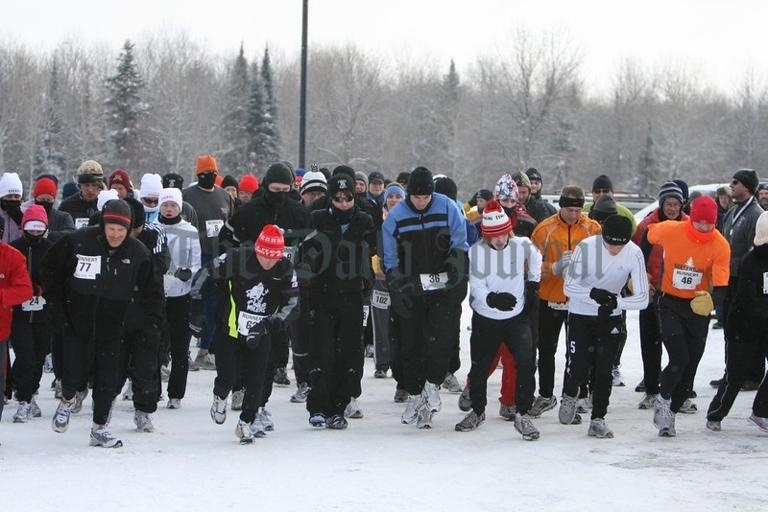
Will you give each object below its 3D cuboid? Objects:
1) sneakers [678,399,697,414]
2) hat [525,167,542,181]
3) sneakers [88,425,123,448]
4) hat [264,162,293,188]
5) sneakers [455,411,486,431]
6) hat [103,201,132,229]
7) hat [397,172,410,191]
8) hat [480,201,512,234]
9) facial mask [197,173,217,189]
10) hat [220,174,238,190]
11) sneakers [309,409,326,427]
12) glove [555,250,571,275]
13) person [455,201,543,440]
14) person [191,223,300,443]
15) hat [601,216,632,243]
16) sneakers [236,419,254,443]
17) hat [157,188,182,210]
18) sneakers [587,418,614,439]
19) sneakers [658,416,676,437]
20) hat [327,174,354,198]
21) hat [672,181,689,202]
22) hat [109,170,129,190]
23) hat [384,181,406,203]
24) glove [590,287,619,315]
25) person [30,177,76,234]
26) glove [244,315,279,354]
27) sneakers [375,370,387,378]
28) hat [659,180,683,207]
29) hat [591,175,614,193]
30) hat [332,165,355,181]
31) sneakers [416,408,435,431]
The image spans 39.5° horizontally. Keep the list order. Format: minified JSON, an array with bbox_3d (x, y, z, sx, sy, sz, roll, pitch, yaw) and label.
[{"bbox_3d":[4.086,1.920,13.570,0.194,0.192,0.407,-2,-15,6],"label":"sneakers"},{"bbox_3d":[2.540,-1.282,16.660,0.186,0.142,0.279,2,-7,8],"label":"hat"},{"bbox_3d":[-3.069,1.985,11.786,0.365,0.237,0.292,-2,9,-16],"label":"sneakers"},{"bbox_3d":[-1.205,-0.981,12.975,0.289,0.256,0.307,2,2,-37],"label":"hat"},{"bbox_3d":[1.170,1.951,12.632,0.417,0.192,0.163,-11,15,-38],"label":"sneakers"},{"bbox_3d":[-2.953,-0.491,11.867,0.256,0.281,0.330,16,6,-27],"label":"hat"},{"bbox_3d":[0.489,-1.294,18.277,0.274,0.248,0.409,1,3,3],"label":"hat"},{"bbox_3d":[1.411,-0.468,12.624,0.317,0.365,0.406,-15,17,-4],"label":"hat"},{"bbox_3d":[-2.543,-1.106,15.763,0.211,0.213,0.254,0,4,-23],"label":"facial mask"},{"bbox_3d":[-2.522,-1.240,17.901,0.206,0.209,0.289,0,-5,-7],"label":"hat"},{"bbox_3d":[-0.710,1.954,12.695,0.200,0.204,0.184,-1,8,-7],"label":"sneakers"},{"bbox_3d":[2.348,0.092,13.060,0.113,0.271,0.195,22,17,-24],"label":"glove"},{"bbox_3d":[1.503,0.731,12.459,0.974,2.690,0.750,3,8,16],"label":"person"},{"bbox_3d":[-1.468,0.886,12.057,1.117,2.431,0.620,1,8,2],"label":"person"},{"bbox_3d":[2.890,-0.301,12.371,0.265,0.277,0.350,3,6,4],"label":"hat"},{"bbox_3d":[-1.522,1.969,12.047,0.209,0.266,0.229,-1,8,-8],"label":"sneakers"},{"bbox_3d":[-2.766,-0.745,13.993,0.235,0.286,0.305,2,-1,-9],"label":"hat"},{"bbox_3d":[2.671,2.005,12.336,0.172,0.154,0.311,3,-8,-28],"label":"sneakers"},{"bbox_3d":[3.505,2.018,12.428,0.131,0.155,0.334,2,-13,8],"label":"sneakers"},{"bbox_3d":[-0.436,-0.852,12.962,0.269,0.213,0.269,-1,3,15],"label":"hat"},{"bbox_3d":[4.195,-0.861,14.111,0.241,0.233,0.359,11,5,-2],"label":"hat"},{"bbox_3d":[-3.797,-1.106,15.407,0.242,0.274,0.314,3,-4,-3],"label":"hat"},{"bbox_3d":[0.303,-0.972,16.073,0.288,0.308,0.362,2,-16,-1],"label":"hat"},{"bbox_3d":[2.700,0.531,12.222,0.290,0.305,0.116,1,19,11],"label":"glove"},{"bbox_3d":[-4.481,-0.590,14.139,0.735,0.999,0.581,1,-2,-13],"label":"person"},{"bbox_3d":[-1.310,0.854,11.829,0.254,0.173,0.444,32,25,6],"label":"glove"},{"bbox_3d":[0.081,1.707,15.486,0.116,0.050,0.120,5,9,8],"label":"sneakers"},{"bbox_3d":[3.929,-0.812,13.657,0.253,0.310,0.320,4,-2,-7],"label":"hat"},{"bbox_3d":[3.412,-1.035,15.519,0.260,0.233,0.282,2,-3,4],"label":"hat"},{"bbox_3d":[-0.405,-1.133,14.552,0.227,0.199,0.362,2,-9,25],"label":"hat"},{"bbox_3d":[0.587,1.983,12.816,0.274,0.369,0.212,3,-17,-6],"label":"sneakers"}]
